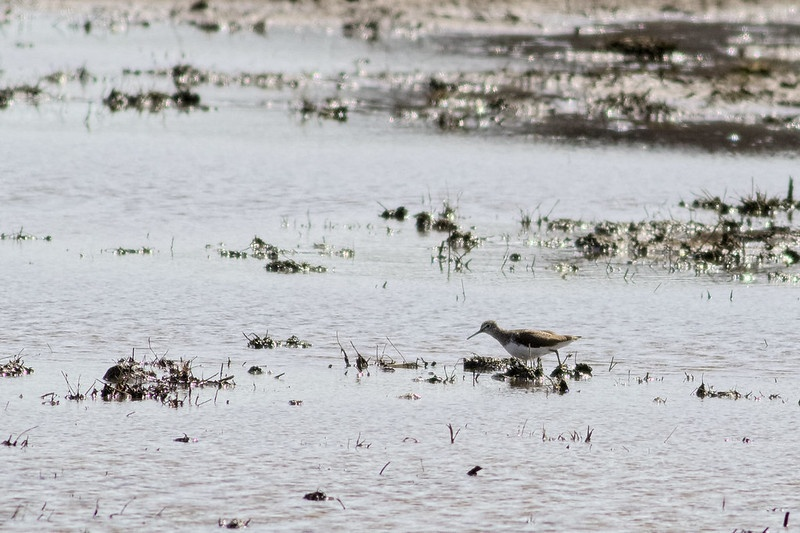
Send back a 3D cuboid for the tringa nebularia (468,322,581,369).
[{"bbox_3d":[2.423,1.458,25.035,1.529,0.796,0.893,8,11,44],"label":"tringa nebularia"}]
